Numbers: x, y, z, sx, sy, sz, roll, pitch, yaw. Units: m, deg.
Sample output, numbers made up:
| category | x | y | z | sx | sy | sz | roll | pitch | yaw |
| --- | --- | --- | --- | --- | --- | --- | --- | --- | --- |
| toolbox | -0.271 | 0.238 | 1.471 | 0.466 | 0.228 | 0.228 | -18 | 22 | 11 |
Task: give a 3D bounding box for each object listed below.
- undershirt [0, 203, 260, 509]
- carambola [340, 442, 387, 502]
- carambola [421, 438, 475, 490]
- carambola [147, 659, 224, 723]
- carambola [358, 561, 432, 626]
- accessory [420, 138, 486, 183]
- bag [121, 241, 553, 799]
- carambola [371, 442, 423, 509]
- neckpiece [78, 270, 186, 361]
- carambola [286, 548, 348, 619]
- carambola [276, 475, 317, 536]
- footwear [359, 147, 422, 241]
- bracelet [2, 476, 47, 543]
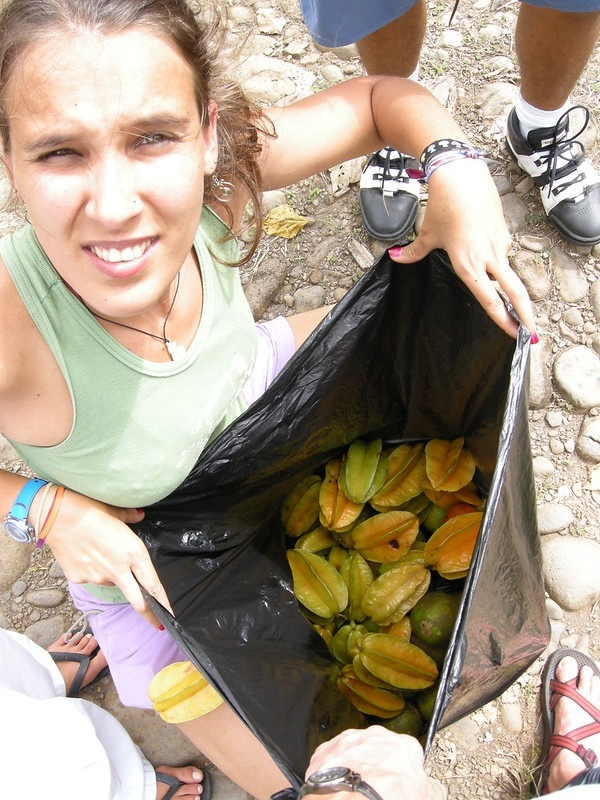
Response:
| category | x | y | z | sx | sy | sz | roll | pitch | yaw |
| --- | --- | --- | --- | --- | --- | --- | --- | --- | --- |
| undershirt | -0.314 | -0.065 | 1.223 | 0.315 | 0.539 | 0.394 | 38 | 76 | 9 |
| carambola | 0.155 | 0.167 | 1.645 | 0.114 | 0.047 | 0.198 | 0 | 44 | 13 |
| carambola | 0.353 | 0.145 | 1.596 | 0.123 | 0.050 | 0.144 | 24 | 57 | -3 |
| carambola | -0.235 | 0.592 | 1.368 | 0.153 | 0.049 | 0.106 | -4 | 52 | -49 |
| carambola | 0.220 | 0.437 | 1.533 | 0.167 | 0.047 | 0.108 | -34 | 79 | -2 |
| accessory | 0.281 | -0.452 | 1.244 | 0.102 | 0.050 | 0.080 | -25 | 24 | 12 |
| bag | 0.357 | 0.308 | 1.555 | 0.905 | 0.947 | 0.924 | -28 | 32 | 26 |
| carambola | 0.233 | 0.204 | 1.658 | 0.110 | 0.063 | 0.196 | 12 | 36 | 32 |
| neckpiece | -0.300 | -0.151 | 1.276 | 0.177 | 0.023 | 0.160 | -34 | 101 | -25 |
| carambola | 0.049 | 0.434 | 1.626 | 0.118 | 0.069 | 0.174 | -43 | 70 | 4 |
| carambola | 0.004 | 0.268 | 1.690 | 0.098 | 0.051 | 0.140 | 46 | 109 | 29 |
| footwear | 0.304 | -0.690 | 2.344 | 0.201 | 0.215 | 0.528 | 1 | 75 | 5 |
| bracelet | -0.536 | 0.209 | 1.321 | 0.065 | 0.109 | 0.112 | 26 | 35 | -8 |
